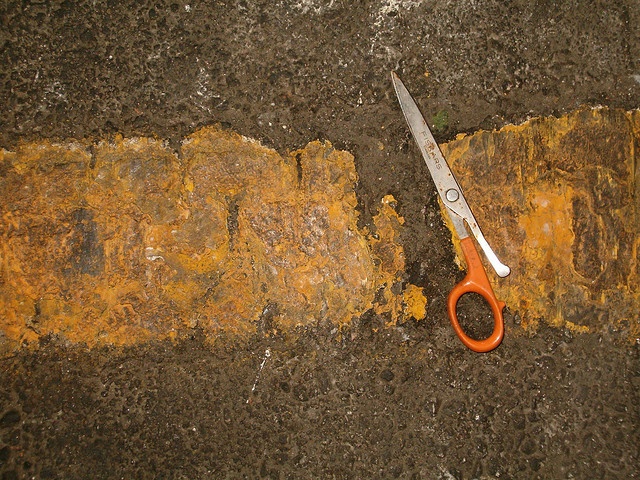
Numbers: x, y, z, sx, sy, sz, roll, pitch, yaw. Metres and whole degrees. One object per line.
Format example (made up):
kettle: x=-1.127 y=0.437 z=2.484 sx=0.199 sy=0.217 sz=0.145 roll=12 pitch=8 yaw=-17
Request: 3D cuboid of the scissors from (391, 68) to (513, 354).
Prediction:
scissors: x=0.378 y=-0.086 z=2.133 sx=0.203 sy=0.145 sz=0.755 roll=-14 pitch=80 yaw=-6
